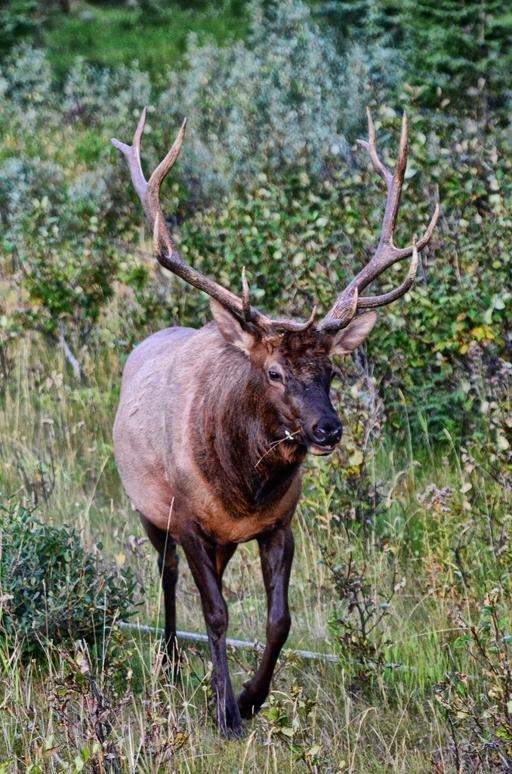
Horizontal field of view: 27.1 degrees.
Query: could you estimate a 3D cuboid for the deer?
[{"bbox_3d":[-0.157,0.185,4.375,1.475,2.574,1.981,-3,8,-17],"label":"deer"}]
